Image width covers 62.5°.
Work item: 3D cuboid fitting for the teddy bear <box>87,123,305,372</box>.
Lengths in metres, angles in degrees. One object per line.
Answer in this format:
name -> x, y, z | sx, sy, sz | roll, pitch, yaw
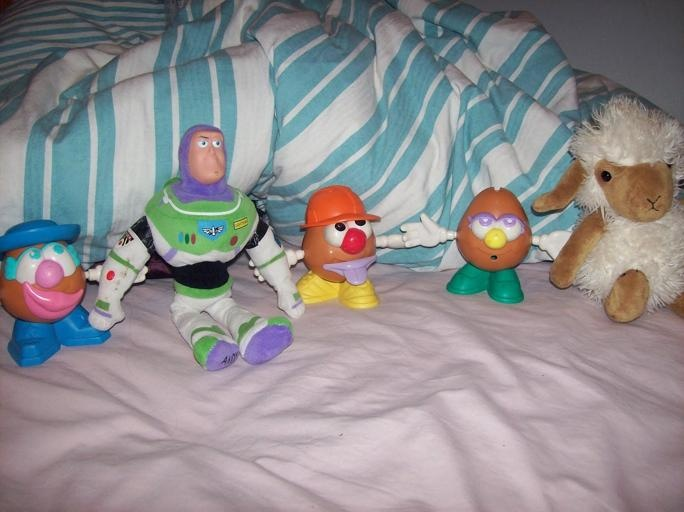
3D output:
teddy bear -> -0.412, -0.033, 1.622 | 0.617, 0.646, 0.438 | 0, 22, -13
